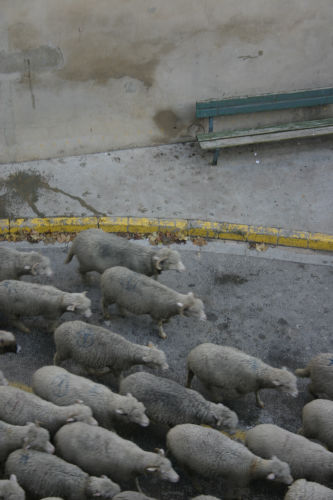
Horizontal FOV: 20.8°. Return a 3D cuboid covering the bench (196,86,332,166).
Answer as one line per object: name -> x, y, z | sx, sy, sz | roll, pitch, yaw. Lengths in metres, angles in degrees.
bench -> 1.719, -2.169, 16.228 | 2.409, 1.256, 0.893 | -3, 13, 2

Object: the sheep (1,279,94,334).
sheep -> -1.848, 0.825, 13.126 | 1.583, 0.808, 0.557 | 10, 44, -17

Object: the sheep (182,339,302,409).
sheep -> 0.973, 1.849, 12.751 | 1.705, 0.976, 0.669 | 13, 33, 22

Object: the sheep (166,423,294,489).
sheep -> 0.743, 2.586, 11.951 | 1.816, 0.711, 0.919 | 15, -4, 6

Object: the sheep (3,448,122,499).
sheep -> -1.349, 2.828, 11.301 | 1.279, 0.607, 0.272 | -1, 13, 9

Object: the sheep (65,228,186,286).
sheep -> -0.737, 0.266, 13.884 | 1.809, 0.943, 0.555 | 11, 39, 10

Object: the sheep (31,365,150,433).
sheep -> -1.041, 2.008, 12.025 | 1.007, 0.315, 0.507 | 21, -18, 4

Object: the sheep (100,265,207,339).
sheep -> -0.246, 0.836, 13.414 | 1.658, 0.919, 0.601 | 17, 40, 16
